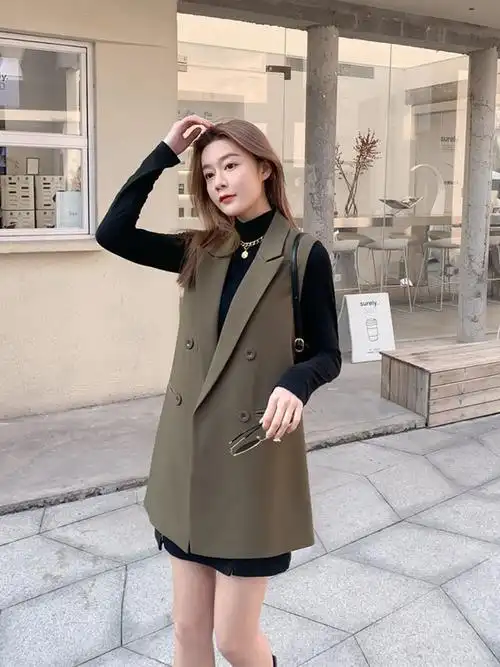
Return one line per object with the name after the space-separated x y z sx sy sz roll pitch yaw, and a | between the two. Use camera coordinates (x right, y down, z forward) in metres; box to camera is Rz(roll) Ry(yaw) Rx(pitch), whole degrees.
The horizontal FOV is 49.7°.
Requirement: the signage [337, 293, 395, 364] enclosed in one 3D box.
1.549 -0.133 6.541 0.459 0.757 0.600 -30 18 -39 | signage

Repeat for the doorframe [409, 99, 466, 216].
2.857 -2.520 8.040 0.159 1.561 0.876 -22 26 -34 | doorframe

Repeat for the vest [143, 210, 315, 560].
-0.049 0.092 1.057 0.357 0.655 0.249 1 7 0 | vest

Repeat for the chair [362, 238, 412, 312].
1.912 -0.891 7.839 0.678 0.956 0.672 1 14 36 | chair

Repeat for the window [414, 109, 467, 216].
2.764 -2.479 8.000 0.876 1.522 0.129 -1 6 -18 | window

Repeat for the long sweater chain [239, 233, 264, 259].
0.000 -0.179 1.110 0.036 0.015 0.056 12 -8 -3 | long sweater chain

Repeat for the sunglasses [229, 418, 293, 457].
0.011 0.184 0.965 0.019 0.044 0.137 -3 -20 -43 | sunglasses

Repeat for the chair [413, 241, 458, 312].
3.091 -1.044 8.479 0.640 0.811 0.642 -13 -9 34 | chair
